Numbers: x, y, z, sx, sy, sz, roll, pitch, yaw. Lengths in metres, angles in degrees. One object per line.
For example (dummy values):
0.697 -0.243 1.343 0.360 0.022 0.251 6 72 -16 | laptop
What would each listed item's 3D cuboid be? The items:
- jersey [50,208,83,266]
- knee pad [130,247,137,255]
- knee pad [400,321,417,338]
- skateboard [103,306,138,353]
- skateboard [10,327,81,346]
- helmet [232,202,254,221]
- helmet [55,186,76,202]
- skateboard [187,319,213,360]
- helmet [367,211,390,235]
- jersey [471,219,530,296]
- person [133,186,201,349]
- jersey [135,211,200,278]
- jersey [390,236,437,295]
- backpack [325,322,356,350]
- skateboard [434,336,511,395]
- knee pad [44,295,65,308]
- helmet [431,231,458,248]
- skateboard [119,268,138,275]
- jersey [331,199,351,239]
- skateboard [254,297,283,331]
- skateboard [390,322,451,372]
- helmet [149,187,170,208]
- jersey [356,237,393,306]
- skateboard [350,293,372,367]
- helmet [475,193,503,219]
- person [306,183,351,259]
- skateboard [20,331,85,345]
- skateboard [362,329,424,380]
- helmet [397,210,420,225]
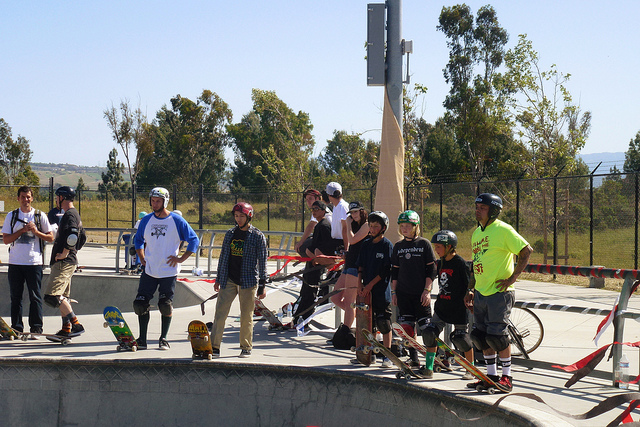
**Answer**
-5.145 0.478 17.219 0.611 1.141 0.673 -3 10 -19 | jersey
-3.977 0.796 18.005 0.162 0.175 0.169 6 -8 -27 | knee pad
1.636 2.167 15.463 0.177 0.340 0.105 -6 -12 -19 | knee pad
-3.830 2.239 16.199 0.373 1.186 0.167 -6 31 28 | skateboard
-5.438 2.456 16.743 1.364 0.264 0.393 9 -9 -2 | skateboard
-1.461 -0.029 16.178 0.321 0.276 0.264 -11 18 -37 | helmet
-5.190 -0.387 17.412 0.348 0.373 0.284 13 5 18 | helmet
-2.232 2.200 15.682 0.347 0.169 1.084 3 -37 2 | skateboard
1.106 0.193 16.012 0.382 0.475 0.435 -1 9 -2 | helmet
3.061 0.781 15.072 0.617 1.430 1.421 1 -4 -31 | jersey
-3.057 1.077 16.497 1.152 3.118 0.813 -3 9 -14 | person
-3.077 0.587 16.638 1.293 1.319 0.532 2 1 9 | jersey
1.726 0.964 15.533 0.917 1.157 0.418 -1 -10 15 | jersey
0.422 2.442 16.566 0.487 0.552 0.346 0 -6 18 | backpack
2.745 2.696 14.886 1.125 0.277 0.194 43 43 13 | skateboard
-5.305 1.770 16.890 0.316 0.167 0.230 9 9 -43 | knee pad
2.274 0.463 15.309 0.346 0.250 0.298 -3 0 6 | helmet
-4.974 1.513 22.005 0.436 0.132 0.327 -1 -2 9 | skateboard
0.395 0.187 17.795 0.296 0.749 0.714 -1 -5 -16 | jersey
-1.086 2.167 17.772 0.197 0.868 0.437 -28 -12 -29 | skateboard
1.858 2.442 15.400 0.172 1.029 0.261 -51 9 -34 | skateboard
-3.178 -0.329 16.552 0.351 0.436 0.456 2 -4 5 | helmet
1.059 1.054 16.087 0.705 1.498 0.422 14 34 21 | jersey
0.800 2.022 15.698 0.449 0.219 1.418 17 35 -11 | skateboard
2.991 -0.101 14.920 0.431 0.376 0.355 11 -8 -10 | helmet
0.198 0.297 17.857 0.962 1.977 1.088 -1 1 -10 | person
-5.336 2.439 16.756 1.128 0.215 0.372 2 -9 7 | skateboard
1.329 2.595 15.440 0.164 0.963 0.236 -42 -4 -29 | skateboard
1.669 0.065 15.566 0.303 0.174 0.221 9 -8 -22 | helmet
